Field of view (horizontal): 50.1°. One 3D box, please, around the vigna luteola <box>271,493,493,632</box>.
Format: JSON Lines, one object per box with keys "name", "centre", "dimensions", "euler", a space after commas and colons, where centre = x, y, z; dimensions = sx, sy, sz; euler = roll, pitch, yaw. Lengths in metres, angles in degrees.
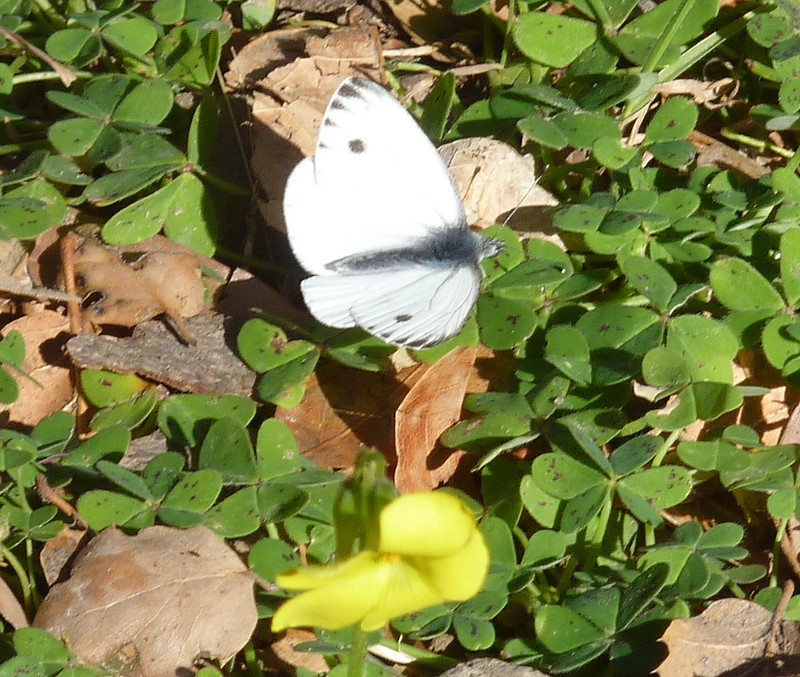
{"name": "vigna luteola", "centre": [-0.058, 0.424, 1.758], "dimensions": [0.328, 0.378, 0.132], "euler": [46, 9, -28]}
